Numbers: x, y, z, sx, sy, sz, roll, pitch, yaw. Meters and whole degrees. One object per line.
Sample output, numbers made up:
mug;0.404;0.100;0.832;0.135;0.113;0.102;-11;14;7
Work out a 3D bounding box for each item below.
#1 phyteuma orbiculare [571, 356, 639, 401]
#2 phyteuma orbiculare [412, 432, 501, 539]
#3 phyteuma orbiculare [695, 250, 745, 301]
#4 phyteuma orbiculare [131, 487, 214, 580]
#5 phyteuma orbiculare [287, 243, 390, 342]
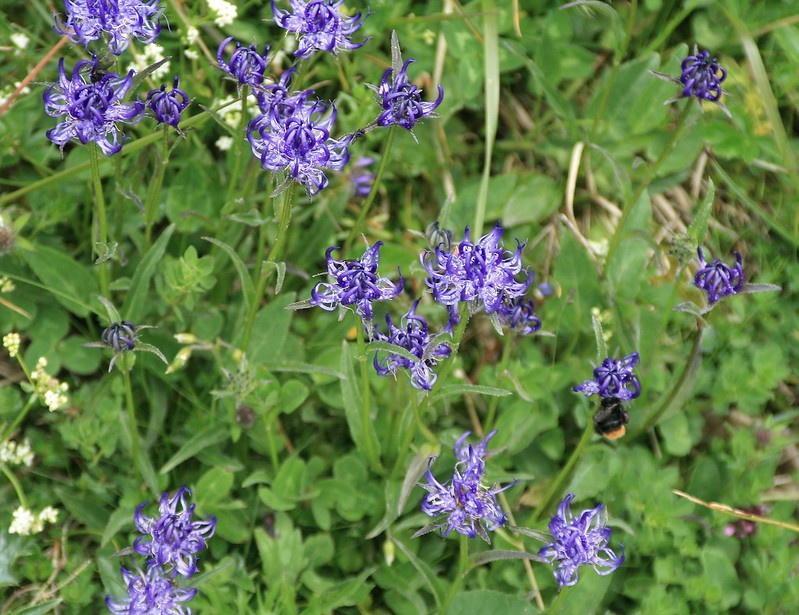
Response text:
phyteuma orbiculare;0.721;0.228;2.788;0.178;0.201;0.087;-12;97;-17
phyteuma orbiculare;0.212;0.581;2.735;0.277;0.333;0.332;9;62;5
phyteuma orbiculare;1.147;-0.106;2.950;0.146;0.136;0.226;-3;93;4
phyteuma orbiculare;-0.757;0.743;2.762;0.265;0.164;0.409;-4;88;-8
phyteuma orbiculare;-0.169;-0.066;2.702;0.248;0.326;0.159;13;81;51
